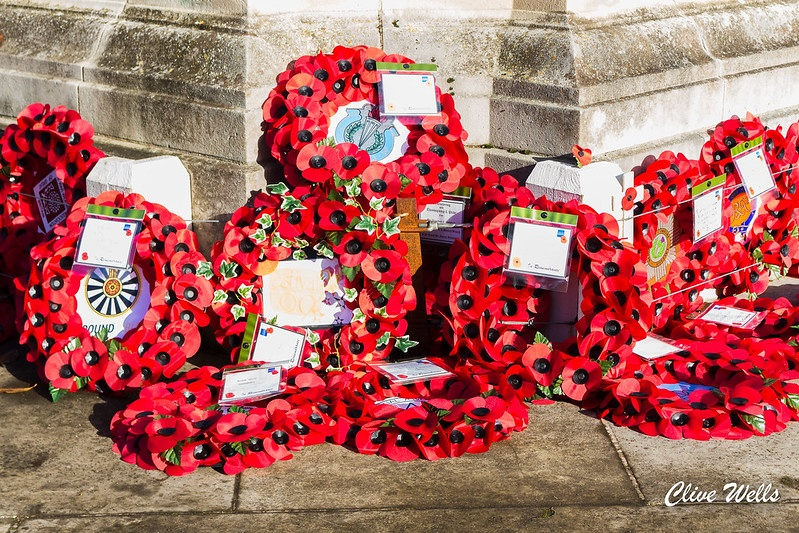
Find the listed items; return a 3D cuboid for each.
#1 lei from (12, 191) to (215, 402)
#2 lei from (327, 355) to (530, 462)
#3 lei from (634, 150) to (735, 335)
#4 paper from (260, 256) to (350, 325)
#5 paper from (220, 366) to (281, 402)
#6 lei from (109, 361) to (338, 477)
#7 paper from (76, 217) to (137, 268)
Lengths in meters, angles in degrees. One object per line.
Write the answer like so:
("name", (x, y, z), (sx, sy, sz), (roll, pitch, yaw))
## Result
("lei", (-1.824, 0.191, 5.901), (1.649, 1.192, 0.405), (3, -1, -5))
("lei", (0.128, 0.893, 5.528), (0.778, 0.183, 0.706), (-4, 15, -25))
("lei", (1.889, -0.149, 6.278), (0.456, 1.091, 1.154), (2, 2, 33))
("paper", (-0.618, 0.168, 6.086), (0.812, 0.470, 0.079), (0, -2, 36))
("paper", (-0.929, 0.743, 5.718), (0.283, 0.055, 0.235), (-2, 37, -5))
("lei", (-1.065, 0.936, 5.547), (1.355, 0.475, 0.634), (2, 14, -4))
("paper", (-1.875, -0.146, 5.786), (0.403, 0.315, 0.085), (1, 2, -1))
